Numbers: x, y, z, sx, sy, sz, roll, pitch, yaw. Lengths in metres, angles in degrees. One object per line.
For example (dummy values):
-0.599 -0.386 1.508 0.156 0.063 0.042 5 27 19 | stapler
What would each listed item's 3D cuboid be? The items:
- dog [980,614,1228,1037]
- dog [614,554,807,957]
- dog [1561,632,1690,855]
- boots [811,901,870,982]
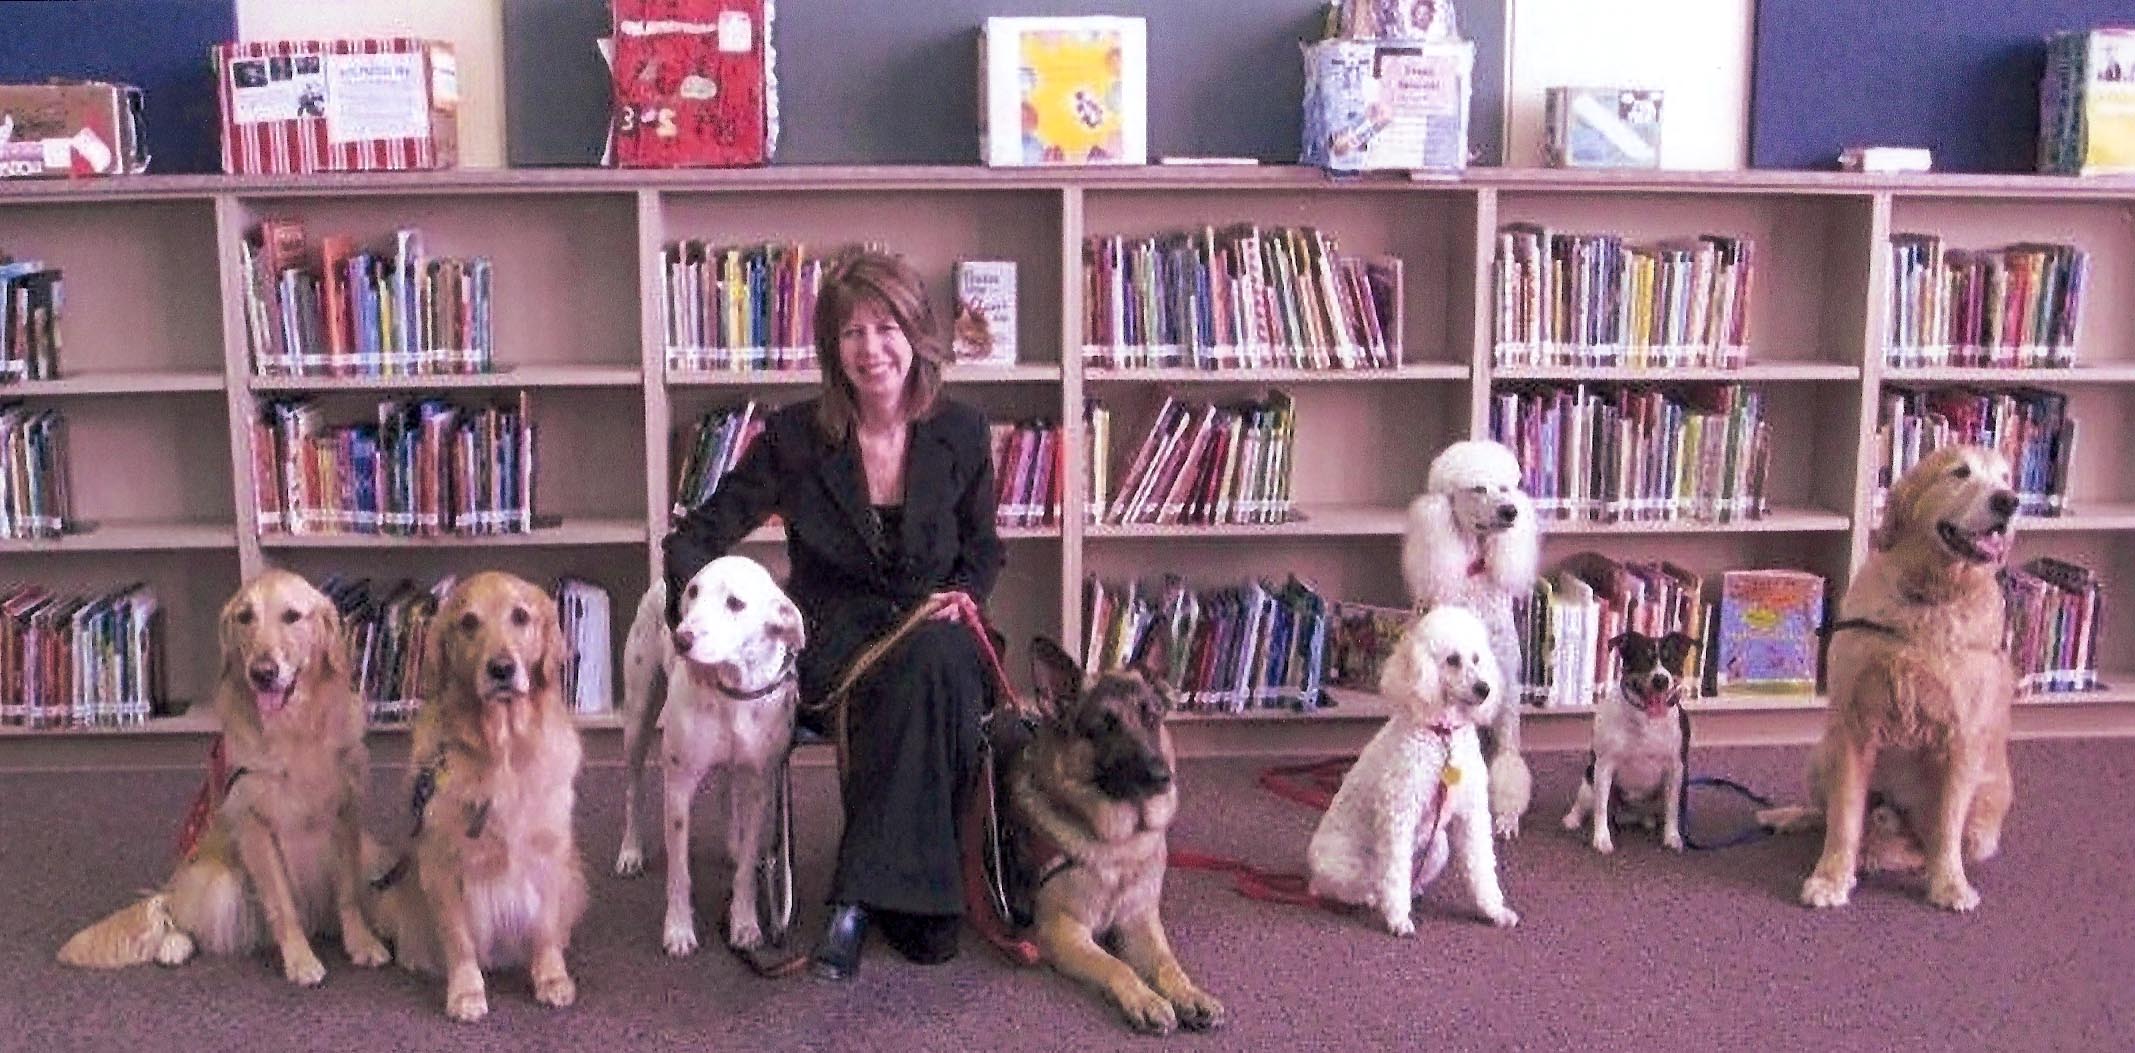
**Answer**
0.126 1.132 6.149 0.905 1.412 0.442 2 11 7 | dog
-1.412 0.840 6.432 0.645 1.559 0.778 -4 12 -24 | dog
2.394 0.915 6.951 0.574 0.827 1.076 5 -7 13 | dog
-0.881 1.535 6.274 0.159 0.273 0.406 -2 13 12 | boots
